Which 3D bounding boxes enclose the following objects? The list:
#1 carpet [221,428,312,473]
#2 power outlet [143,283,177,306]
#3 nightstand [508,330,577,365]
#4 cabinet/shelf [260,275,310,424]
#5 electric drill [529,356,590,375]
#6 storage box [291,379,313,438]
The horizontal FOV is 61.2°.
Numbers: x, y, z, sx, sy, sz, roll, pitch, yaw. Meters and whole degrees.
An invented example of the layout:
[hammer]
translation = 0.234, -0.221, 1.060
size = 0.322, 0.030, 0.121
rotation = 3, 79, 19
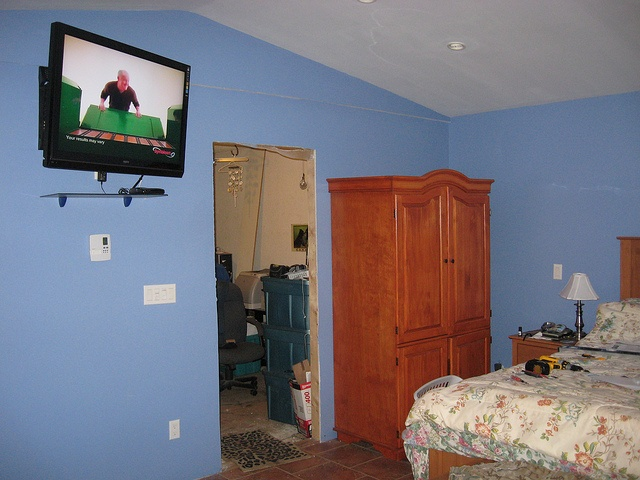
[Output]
[carpet]
translation = -0.552, 1.781, 4.620
size = 0.630, 0.054, 0.751
rotation = -7, 7, -32
[power outlet]
translation = -1.203, 0.402, 4.007
size = 0.172, 0.122, 0.024
rotation = -1, 1, -32
[nightstand]
translation = 1.941, 0.844, 4.764
size = 0.299, 0.390, 0.405
rotation = -2, 0, -43
[cabinet/shelf]
translation = -0.334, 1.056, 5.161
size = 0.653, 1.353, 0.266
rotation = 1, 8, 39
[electric drill]
translation = 1.612, 0.868, 3.749
size = 0.181, 0.054, 0.179
rotation = 6, 0, -31
[storage box]
translation = -0.111, 1.537, 4.984
size = 0.259, 0.451, 0.236
rotation = -6, -2, -26
